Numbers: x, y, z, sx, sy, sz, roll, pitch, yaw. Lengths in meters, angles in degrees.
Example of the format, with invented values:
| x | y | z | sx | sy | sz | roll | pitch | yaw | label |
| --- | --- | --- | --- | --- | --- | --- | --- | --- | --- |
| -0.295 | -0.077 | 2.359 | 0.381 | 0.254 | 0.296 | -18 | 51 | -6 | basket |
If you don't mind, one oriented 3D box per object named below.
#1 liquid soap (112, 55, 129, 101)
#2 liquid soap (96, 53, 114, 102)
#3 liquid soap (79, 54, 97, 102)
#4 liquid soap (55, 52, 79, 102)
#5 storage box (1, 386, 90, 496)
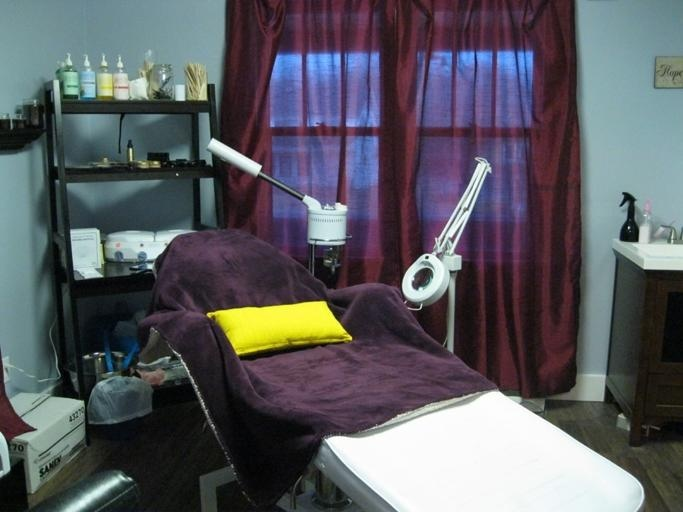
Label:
| x | y | z | sx | sy | sz | roll | pitch | yaw | label |
| --- | --- | --- | --- | --- | --- | --- | --- | --- | --- |
| -1.172 | -0.933 | 3.437 | 0.081 | 0.223 | 0.341 | -5 | 11 | -18 | liquid soap |
| -1.269 | -0.950 | 3.467 | 0.089 | 0.245 | 0.432 | -5 | 11 | -19 | liquid soap |
| -1.336 | -0.928 | 3.411 | 0.083 | 0.229 | 0.443 | -6 | 12 | -20 | liquid soap |
| -1.383 | -0.903 | 3.283 | 0.106 | 0.223 | 0.192 | -6 | 12 | -24 | liquid soap |
| -1.378 | 0.839 | 2.992 | 0.335 | 0.255 | 0.344 | 5 | 11 | 23 | storage box |
